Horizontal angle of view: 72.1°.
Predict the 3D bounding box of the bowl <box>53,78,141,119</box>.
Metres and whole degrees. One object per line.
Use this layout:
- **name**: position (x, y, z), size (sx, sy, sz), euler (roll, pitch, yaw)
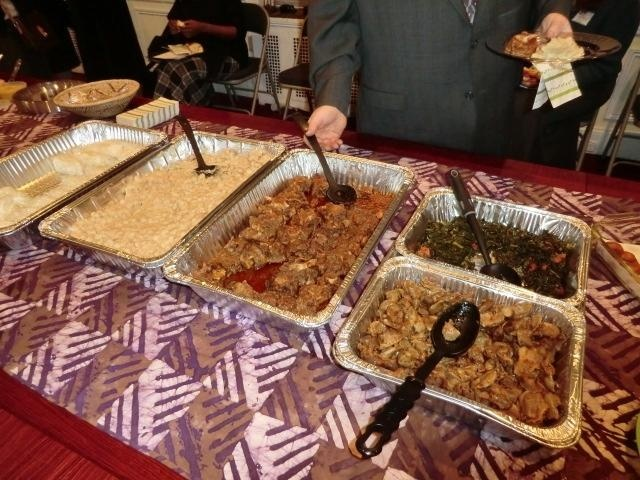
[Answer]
- **bowl**: position (-1.592, -1.035, 3.182), size (0.413, 0.145, 0.401), euler (-1, 37, 1)
